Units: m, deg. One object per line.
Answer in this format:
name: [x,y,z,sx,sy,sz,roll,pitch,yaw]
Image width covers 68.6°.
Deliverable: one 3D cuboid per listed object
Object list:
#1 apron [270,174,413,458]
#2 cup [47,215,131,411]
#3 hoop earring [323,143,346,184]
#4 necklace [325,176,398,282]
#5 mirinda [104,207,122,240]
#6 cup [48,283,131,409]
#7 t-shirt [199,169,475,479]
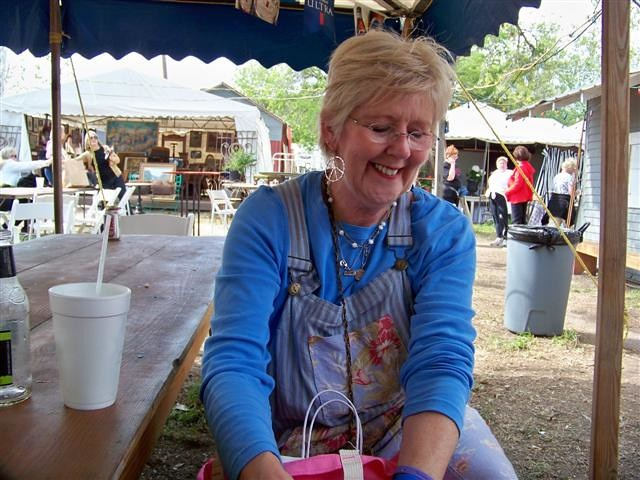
apron: [0.083,0.321,1.640,0.420,1.063,0.349,-2,11,-7]
cup: [-0.525,0.162,1.070,0.161,0.424,0.176,3,5,0]
hoop earring: [0.050,-0.265,1.570,0.008,0.190,0.108,10,-16,-39]
necklace: [0.127,-0.100,1.763,0.229,0.071,0.975,18,24,-13]
mirinda: [-1.417,-0.101,3.199,0.105,0.223,0.129,0,-2,3]
cup: [-0.531,0.215,1.064,0.139,0.240,0.155,8,12,6]
t-shirt: [0.080,0.206,1.649,0.826,1.226,0.760,3,-14,-2]
